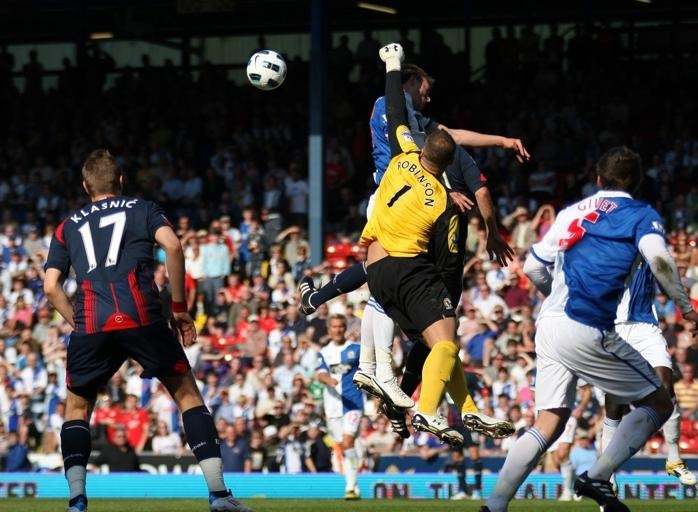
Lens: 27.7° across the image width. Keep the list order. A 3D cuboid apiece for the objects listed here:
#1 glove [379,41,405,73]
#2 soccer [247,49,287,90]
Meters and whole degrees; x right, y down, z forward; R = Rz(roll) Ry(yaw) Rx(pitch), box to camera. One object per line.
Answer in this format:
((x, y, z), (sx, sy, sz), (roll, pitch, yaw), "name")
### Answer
((0.670, -2.988, 21.320), (0.308, 0.443, 0.162), (0, 9, 5), "glove")
((-1.342, -3.072, 23.394), (0.635, 0.681, 0.639), (6, 4, -41), "soccer")
